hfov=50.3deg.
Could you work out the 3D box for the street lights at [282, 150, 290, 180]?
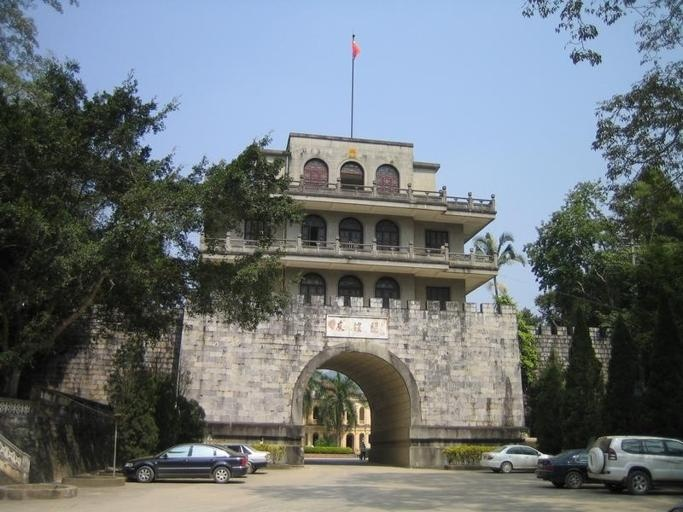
[{"bbox_3d":[-3.293,-5.509,42.490,0.429,1.670,0.854,3,-16,-5],"label":"street lights"}]
